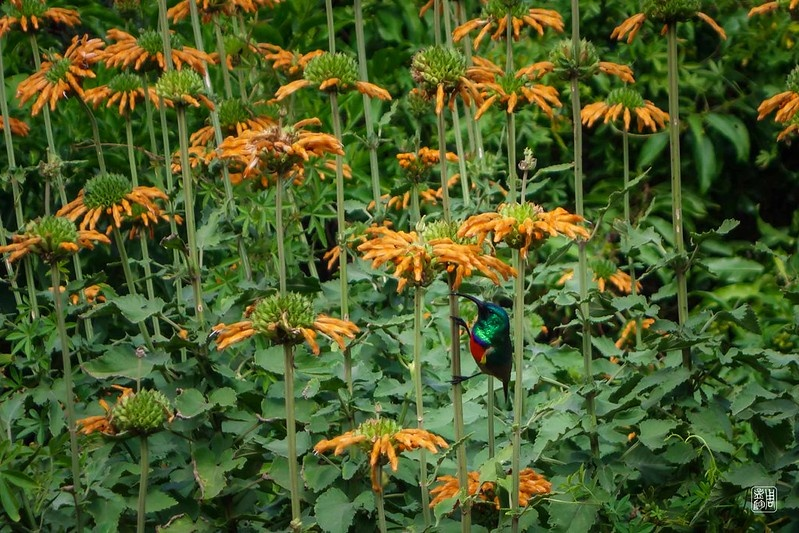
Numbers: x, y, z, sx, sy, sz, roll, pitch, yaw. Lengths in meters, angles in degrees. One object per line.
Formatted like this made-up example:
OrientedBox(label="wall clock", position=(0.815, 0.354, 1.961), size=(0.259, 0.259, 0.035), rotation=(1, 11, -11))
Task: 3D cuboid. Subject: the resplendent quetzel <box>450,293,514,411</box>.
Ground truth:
OrientedBox(label="resplendent quetzel", position=(0.294, 0.295, 3.818), size=(0.262, 0.363, 0.146), rotation=(9, 17, -2))
